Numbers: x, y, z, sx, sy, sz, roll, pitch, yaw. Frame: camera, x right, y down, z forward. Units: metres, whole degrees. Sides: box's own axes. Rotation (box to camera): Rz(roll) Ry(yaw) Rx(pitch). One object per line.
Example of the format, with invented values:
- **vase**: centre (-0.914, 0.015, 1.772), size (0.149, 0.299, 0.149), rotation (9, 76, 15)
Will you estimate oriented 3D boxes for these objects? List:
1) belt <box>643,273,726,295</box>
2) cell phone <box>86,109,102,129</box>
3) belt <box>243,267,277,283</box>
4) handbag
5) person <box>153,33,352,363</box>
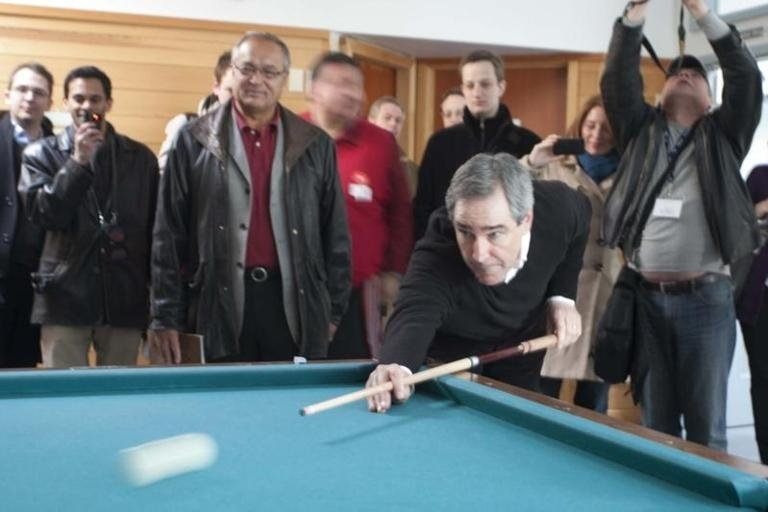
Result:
- **belt**: centre (1.353, 0.122, 2.890), size (0.355, 0.084, 0.074), rotation (-2, 0, 19)
- **cell phone**: centre (-1.462, -0.689, 3.230), size (0.093, 0.096, 0.026), rotation (16, -35, -34)
- **belt**: centre (-0.539, 0.080, 2.791), size (0.128, 0.066, 0.018), rotation (-2, 0, -12)
- **handbag**: centre (1.134, 0.298, 3.107), size (0.196, 0.607, 0.193), rotation (6, 2, -13)
- **person**: centre (-0.608, -0.265, 2.854), size (0.881, 1.483, 0.206), rotation (-2, 0, -3)
